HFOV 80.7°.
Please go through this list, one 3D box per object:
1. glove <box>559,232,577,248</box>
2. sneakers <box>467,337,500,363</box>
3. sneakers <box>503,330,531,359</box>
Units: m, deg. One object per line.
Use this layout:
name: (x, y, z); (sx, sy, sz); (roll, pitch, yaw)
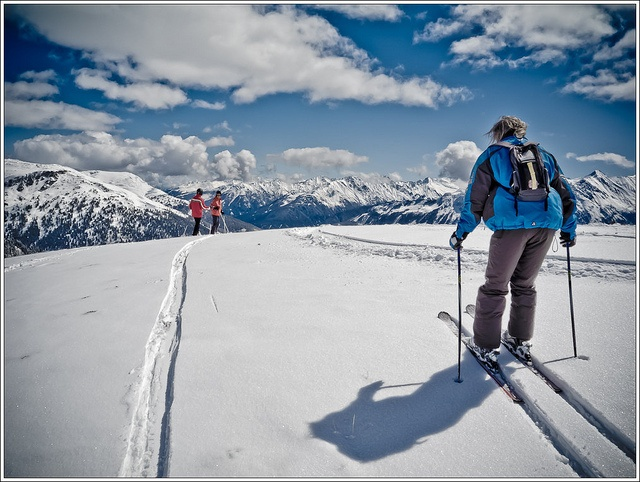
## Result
glove: (3.864, 0.011, 5.841); (0.258, 0.115, 0.267); (-7, -39, 36)
sneakers: (2.352, 1.568, 5.521); (0.172, 0.253, 0.574); (-4, 30, -14)
sneakers: (2.898, 1.514, 5.547); (0.165, 0.246, 0.524); (3, 18, -10)
